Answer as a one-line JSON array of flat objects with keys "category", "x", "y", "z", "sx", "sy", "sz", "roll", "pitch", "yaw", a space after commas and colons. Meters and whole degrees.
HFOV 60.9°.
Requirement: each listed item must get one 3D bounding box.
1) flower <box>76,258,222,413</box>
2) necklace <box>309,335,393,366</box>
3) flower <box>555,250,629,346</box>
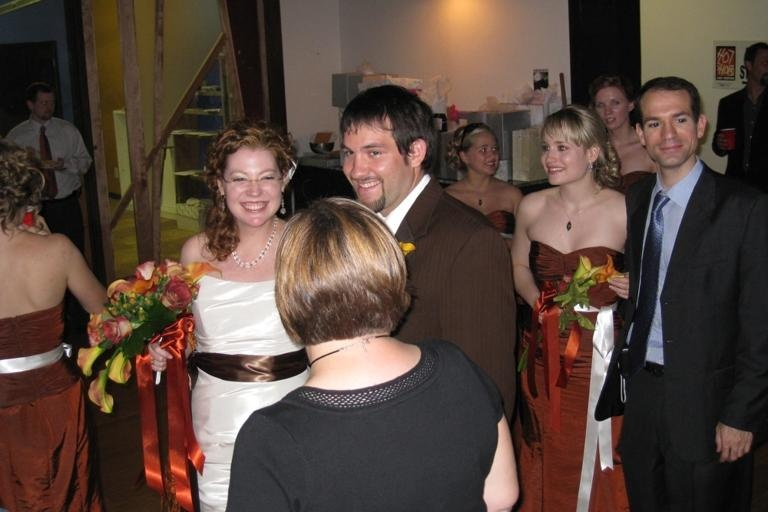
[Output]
[{"category": "flower", "x": -1.084, "y": 0.396, "z": 3.172, "sx": 0.400, "sy": 0.587, "sz": 0.617, "roll": 24, "pitch": 46, "yaw": -3}, {"category": "necklace", "x": -0.116, "y": 0.293, "z": 2.091, "sx": 0.141, "sy": 0.038, "sz": 0.136, "roll": -22, "pitch": 8, "yaw": -29}, {"category": "flower", "x": 1.121, "y": 0.247, "z": 3.469, "sx": 0.302, "sy": 0.242, "sz": 0.433, "roll": 5, "pitch": -34, "yaw": -21}]
